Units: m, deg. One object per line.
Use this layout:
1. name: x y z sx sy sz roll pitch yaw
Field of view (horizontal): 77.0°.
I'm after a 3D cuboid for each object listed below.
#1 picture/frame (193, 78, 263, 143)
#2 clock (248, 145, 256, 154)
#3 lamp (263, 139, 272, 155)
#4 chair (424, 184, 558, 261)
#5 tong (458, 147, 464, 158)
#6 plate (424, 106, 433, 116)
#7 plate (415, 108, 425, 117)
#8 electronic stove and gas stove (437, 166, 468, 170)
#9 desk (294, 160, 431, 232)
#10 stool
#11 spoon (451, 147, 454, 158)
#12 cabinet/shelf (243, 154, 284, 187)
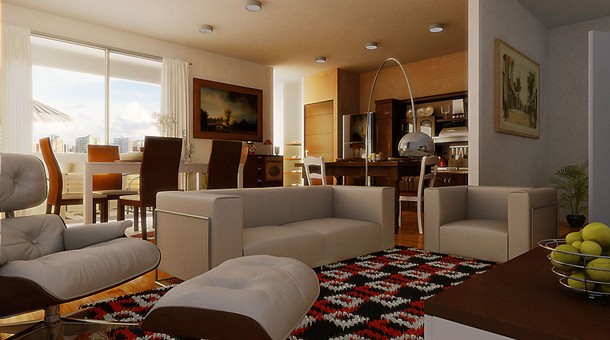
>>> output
1. picture/frame: -1.849 -1.380 8.769 2.062 1.376 0.078 0 0 -36
2. clock: -1.269 -0.494 9.166 0.154 0.179 0.129 -3 -4 -25
3. lamp: -0.902 -0.598 9.591 0.181 0.369 0.455 0 1 19
4. chair: 2.342 0.642 4.763 1.020 0.858 1.386 2 -3 -42
5. tong: 3.409 -0.394 8.370 0.102 0.222 0.025 0 2 32
6. plate: 2.864 -1.361 8.844 0.061 0.199 0.228 12 -2 -43
7. plate: 2.708 -1.361 8.992 0.226 0.208 0.070 7 -9 42
8. electronic stove and gas stove: 3.157 -0.039 8.157 0.564 0.100 0.419 0 1 24
9. desk: 1.287 0.522 6.422 1.148 0.925 2.070 1 -3 -41
10. stool: -0.552 1.034 3.173 1.204 0.499 0.746 0 1 15
11. spoon: 3.285 -0.398 8.458 0.081 0.223 0.028 0 2 32
12. cabinet/shelf: -1.078 0.006 9.292 1.169 0.967 0.755 1 -2 -40
